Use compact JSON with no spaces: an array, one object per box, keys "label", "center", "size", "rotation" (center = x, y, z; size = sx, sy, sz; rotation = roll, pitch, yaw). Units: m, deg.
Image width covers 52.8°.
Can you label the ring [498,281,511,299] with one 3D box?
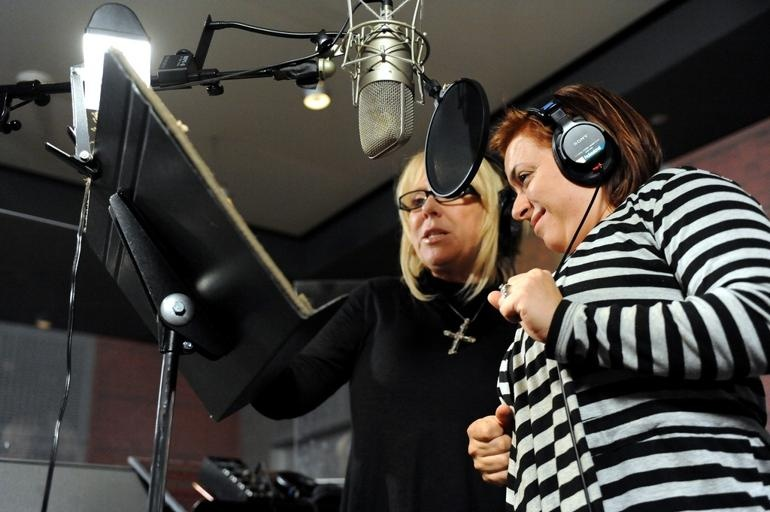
[{"label":"ring","center":[0.272,0.081,1.751],"size":[0.014,0.028,0.037],"rotation":[2,-45,-33]}]

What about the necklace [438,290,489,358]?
[{"label":"necklace","center":[0.229,0.215,2.278],"size":[0.083,0.151,0.023],"rotation":[21,-36,26]}]

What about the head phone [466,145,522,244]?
[{"label":"head phone","center":[0.390,-0.187,2.565],"size":[0.142,0.306,0.221],"rotation":[-6,-16,35]}]

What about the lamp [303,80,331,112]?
[{"label":"lamp","center":[-0.364,-0.850,4.124],"size":[0.150,0.038,0.250],"rotation":[4,-21,-3]}]

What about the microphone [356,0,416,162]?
[{"label":"microphone","center":[-0.004,-0.469,2.123],"size":[0.165,0.353,0.188],"rotation":[0,-20,10]}]

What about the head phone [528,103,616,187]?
[{"label":"head phone","center":[0.474,-0.278,1.980],"size":[0.111,0.248,0.251],"rotation":[-28,-21,4]}]
